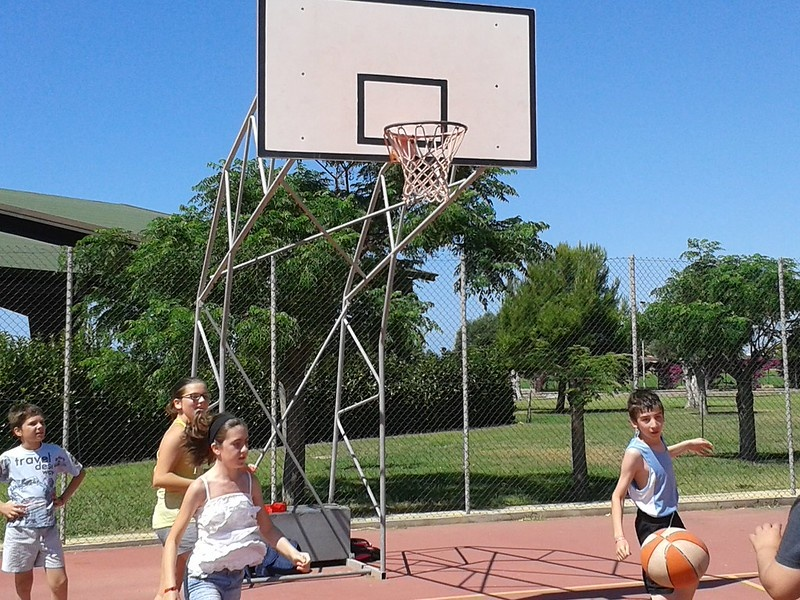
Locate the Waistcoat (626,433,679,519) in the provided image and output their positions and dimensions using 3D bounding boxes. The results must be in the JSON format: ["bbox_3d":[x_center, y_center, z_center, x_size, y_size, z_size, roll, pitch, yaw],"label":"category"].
[{"bbox_3d":[1.802,1.267,5.542,0.407,0.568,0.259,-1,-4,-3],"label":"Waistcoat"}]

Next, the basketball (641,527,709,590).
[{"bbox_3d":[1.846,1.703,5.251,0.366,0.433,0.390,-3,1,2],"label":"basketball"}]

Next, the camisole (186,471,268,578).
[{"bbox_3d":[-0.978,1.393,4.776,0.496,0.694,0.472,10,-35,-28],"label":"camisole"}]
